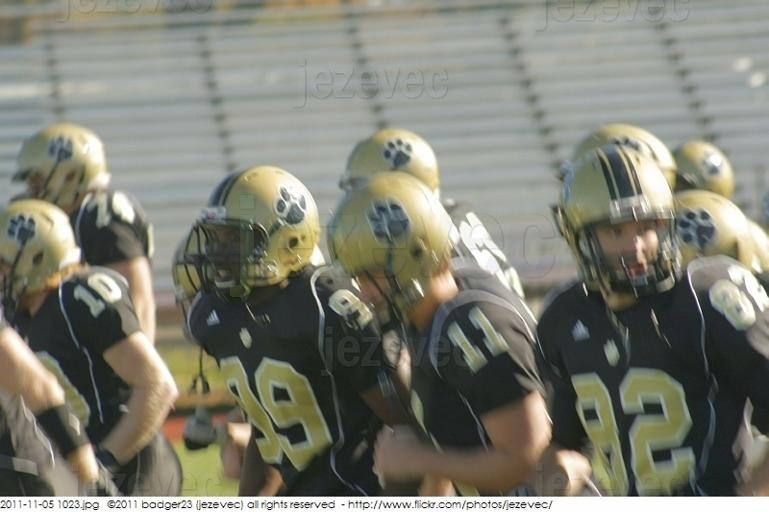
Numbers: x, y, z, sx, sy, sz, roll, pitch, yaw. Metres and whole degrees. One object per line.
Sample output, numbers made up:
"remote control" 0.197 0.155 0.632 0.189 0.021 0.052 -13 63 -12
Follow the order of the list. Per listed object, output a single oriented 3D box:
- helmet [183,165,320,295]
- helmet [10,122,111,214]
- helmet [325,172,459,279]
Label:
"helmet" -0.597 -0.135 8.059 0.589 0.498 0.462 -6 33 -6
"helmet" -1.525 -0.447 8.388 0.381 0.382 0.297 3 14 -5
"helmet" 0.025 -0.136 7.881 0.552 0.489 0.442 -3 1 6
